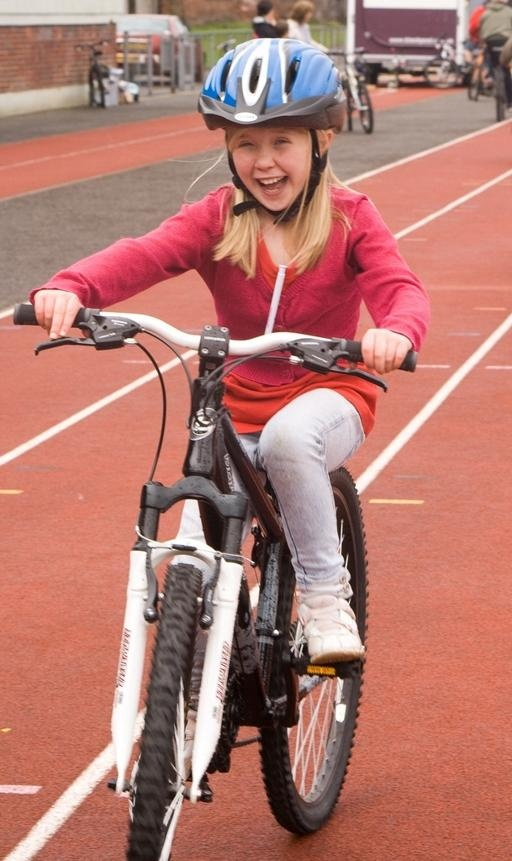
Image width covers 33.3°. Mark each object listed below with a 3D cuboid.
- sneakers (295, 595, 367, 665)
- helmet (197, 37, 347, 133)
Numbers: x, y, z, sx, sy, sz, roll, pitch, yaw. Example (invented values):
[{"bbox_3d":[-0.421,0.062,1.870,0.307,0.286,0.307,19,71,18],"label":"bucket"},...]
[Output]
[{"bbox_3d":[0.152,0.407,1.786,0.129,0.060,0.158,-10,38,-16],"label":"sneakers"},{"bbox_3d":[0.035,-0.767,1.897,0.316,0.190,0.431,9,20,20],"label":"helmet"}]
